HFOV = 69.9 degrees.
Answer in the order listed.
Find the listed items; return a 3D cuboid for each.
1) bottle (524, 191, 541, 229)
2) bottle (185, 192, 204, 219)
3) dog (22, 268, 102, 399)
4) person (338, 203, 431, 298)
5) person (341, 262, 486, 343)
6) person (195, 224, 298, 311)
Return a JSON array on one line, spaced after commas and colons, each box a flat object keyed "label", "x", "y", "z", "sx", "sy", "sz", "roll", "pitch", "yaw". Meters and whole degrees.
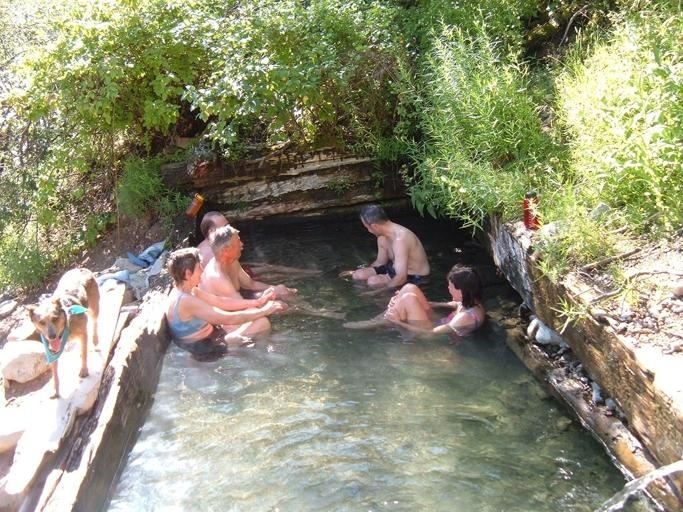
[{"label": "bottle", "x": 1.882, "y": -0.455, "z": 4.886, "sx": 0.189, "sy": 0.398, "sz": 0.171, "roll": 7, "pitch": 27, "yaw": 35}, {"label": "bottle", "x": -2.408, "y": -0.823, "z": 8.104, "sx": 0.340, "sy": 0.396, "sz": 0.389, "roll": -16, "pitch": 23, "yaw": -16}, {"label": "dog", "x": -2.620, "y": 0.706, "z": 4.795, "sx": 0.401, "sy": 0.975, "sz": 1.448, "roll": -4, "pitch": 17, "yaw": -13}, {"label": "person", "x": 0.520, "y": -0.055, "z": 6.429, "sx": 1.145, "sy": 1.223, "sz": 0.876, "roll": -6, "pitch": 17, "yaw": 14}, {"label": "person", "x": 0.900, "y": 0.484, "z": 5.425, "sx": 1.288, "sy": 0.695, "sz": 0.424, "roll": -2, "pitch": 23, "yaw": 19}, {"label": "person", "x": -1.158, "y": 0.220, "z": 6.083, "sx": 1.070, "sy": 1.238, "sz": 0.696, "roll": 2, "pitch": 22, "yaw": -5}]
